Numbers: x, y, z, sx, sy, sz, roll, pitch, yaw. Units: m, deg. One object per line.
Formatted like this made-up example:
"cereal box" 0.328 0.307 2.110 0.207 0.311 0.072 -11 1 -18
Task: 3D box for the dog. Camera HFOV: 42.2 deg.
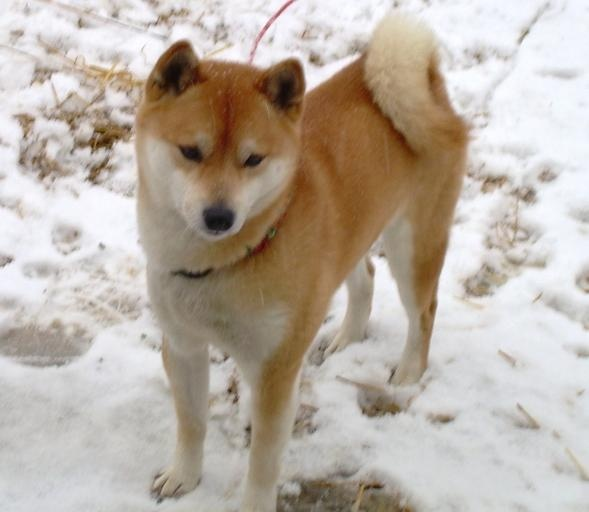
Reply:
"dog" -0.002 -0.030 3.822 1.958 1.975 1.036 -30 51 -29
